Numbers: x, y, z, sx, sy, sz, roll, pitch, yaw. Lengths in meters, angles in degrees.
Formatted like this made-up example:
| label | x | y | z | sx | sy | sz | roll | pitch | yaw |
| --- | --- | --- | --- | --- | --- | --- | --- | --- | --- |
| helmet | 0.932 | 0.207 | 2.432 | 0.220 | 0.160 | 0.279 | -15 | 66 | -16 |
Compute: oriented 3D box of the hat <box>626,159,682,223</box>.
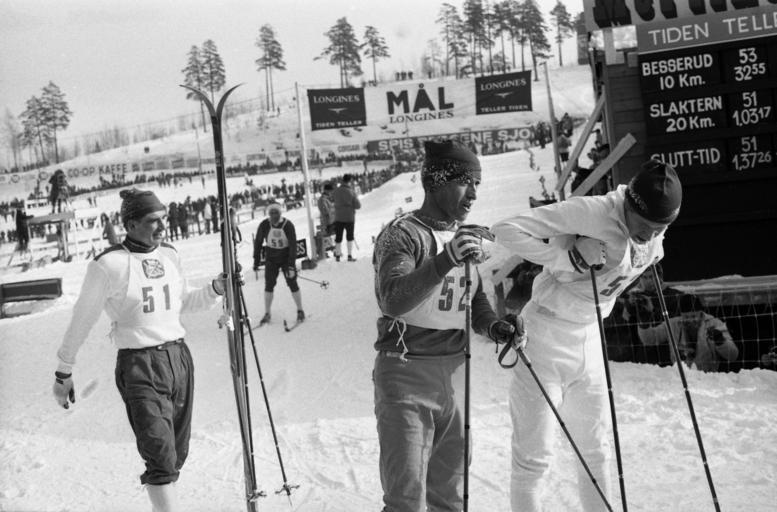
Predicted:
| label | x | y | z | sx | sy | sz | roll | pitch | yaw |
| --- | --- | --- | --- | --- | --- | --- | --- | --- | --- |
| hat | 2.658 | -0.679 | 7.098 | 0.435 | 0.659 | 0.420 | -5 | -19 | 2 |

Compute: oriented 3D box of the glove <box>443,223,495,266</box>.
| label | x | y | z | sx | sy | sz | roll | pitch | yaw |
| --- | --- | --- | --- | --- | --- | --- | --- | --- | --- |
| glove | 0.746 | -0.119 | 6.528 | 0.347 | 0.370 | 0.520 | -4 | 7 | 13 |

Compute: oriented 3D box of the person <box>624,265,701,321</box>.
| label | x | y | z | sx | sy | sz | roll | pitch | yaw |
| --- | --- | --- | --- | --- | --- | --- | --- | --- | --- |
| person | 4.243 | 0.696 | 11.222 | 1.156 | 1.303 | 0.483 | 2 | -5 | 11 |

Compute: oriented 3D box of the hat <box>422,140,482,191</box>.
| label | x | y | z | sx | sy | sz | roll | pitch | yaw |
| --- | --- | --- | --- | --- | --- | --- | --- | --- | --- |
| hat | 0.610 | -0.870 | 6.758 | 0.501 | 0.507 | 0.410 | 4 | 13 | 13 |

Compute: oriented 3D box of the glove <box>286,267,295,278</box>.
| label | x | y | z | sx | sy | sz | roll | pitch | yaw |
| --- | --- | --- | --- | --- | --- | --- | --- | --- | --- |
| glove | -1.894 | 0.303 | 13.792 | 0.133 | 0.203 | 0.069 | 2 | -5 | -4 |

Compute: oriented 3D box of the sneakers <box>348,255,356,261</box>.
| label | x | y | z | sx | sy | sz | roll | pitch | yaw |
| --- | --- | --- | --- | --- | --- | --- | --- | --- | --- |
| sneakers | -0.954 | 0.022 | 18.361 | 0.087 | 0.165 | 0.256 | 4 | 19 | 20 |

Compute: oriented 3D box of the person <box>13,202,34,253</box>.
| label | x | y | z | sx | sy | sz | roll | pitch | yaw |
| --- | --- | --- | --- | --- | --- | --- | --- | --- | --- |
| person | -12.506 | -0.869 | 24.192 | 0.776 | 2.049 | 0.448 | 0 | 13 | -26 |

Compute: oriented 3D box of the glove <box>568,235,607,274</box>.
| label | x | y | z | sx | sy | sz | roll | pitch | yaw |
| --- | --- | --- | --- | --- | --- | --- | --- | --- | --- |
| glove | 1.989 | -0.032 | 7.070 | 0.353 | 0.333 | 0.251 | -4 | 7 | 18 |

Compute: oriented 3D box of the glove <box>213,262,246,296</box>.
| label | x | y | z | sx | sy | sz | roll | pitch | yaw |
| --- | --- | --- | --- | --- | --- | --- | --- | --- | --- |
| glove | -1.865 | 0.263 | 8.265 | 0.388 | 0.217 | 0.305 | -26 | -9 | 38 |

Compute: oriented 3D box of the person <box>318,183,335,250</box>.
| label | x | y | z | sx | sy | sz | roll | pitch | yaw |
| --- | --- | --- | --- | --- | --- | --- | --- | --- | --- |
| person | -1.669 | -1.055 | 19.188 | 0.441 | 1.807 | 0.925 | -6 | 6 | -5 |
